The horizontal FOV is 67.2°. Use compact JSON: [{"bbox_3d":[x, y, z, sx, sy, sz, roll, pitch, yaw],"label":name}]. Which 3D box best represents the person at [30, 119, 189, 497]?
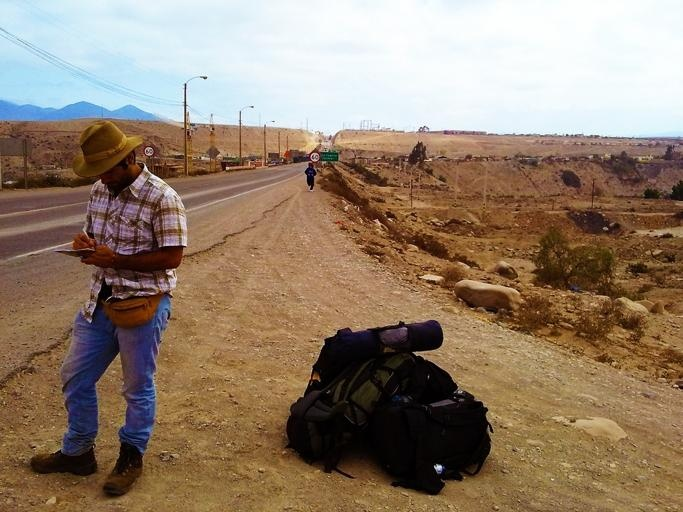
[{"bbox_3d":[-1.770,0.387,4.250,0.935,3.138,0.661,6,10,0],"label":"person"}]

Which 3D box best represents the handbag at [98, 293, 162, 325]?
[{"bbox_3d":[-1.628,0.412,4.176,0.420,0.269,0.182,3,10,-19],"label":"handbag"}]

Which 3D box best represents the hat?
[{"bbox_3d":[-1.833,-0.974,4.215,0.481,0.495,0.341,1,10,-26],"label":"hat"}]

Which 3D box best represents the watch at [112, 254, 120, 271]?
[{"bbox_3d":[-1.735,-0.005,4.139,0.083,0.109,0.106,-1,-9,-18],"label":"watch"}]
